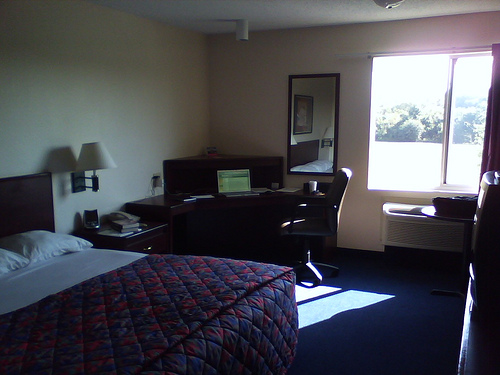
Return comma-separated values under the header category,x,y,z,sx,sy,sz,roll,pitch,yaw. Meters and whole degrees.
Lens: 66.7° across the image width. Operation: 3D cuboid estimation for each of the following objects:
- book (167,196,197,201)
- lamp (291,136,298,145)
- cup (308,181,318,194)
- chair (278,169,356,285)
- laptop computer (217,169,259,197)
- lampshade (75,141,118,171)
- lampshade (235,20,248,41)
category,x,y,z,sx,sy,sz,roll,pitch,yaw
book,-0.758,0.118,4.236,0.402,0.039,0.292,-1,4,-28
lamp,0.557,-0.602,4.896,0.061,0.100,0.101,4,3,1
cup,0.739,0.010,4.551,0.124,0.161,0.119,2,3,0
chair,0.702,0.433,4.290,0.816,1.242,0.813,3,4,20
laptop computer,-0.148,-0.059,4.582,0.469,0.287,0.345,-3,7,-18
lampshade,-1.404,-0.291,3.456,0.283,0.175,0.252,-9,10,-38
lampshade,-0.094,-1.782,4.298,0.140,0.225,0.195,-2,13,-2
